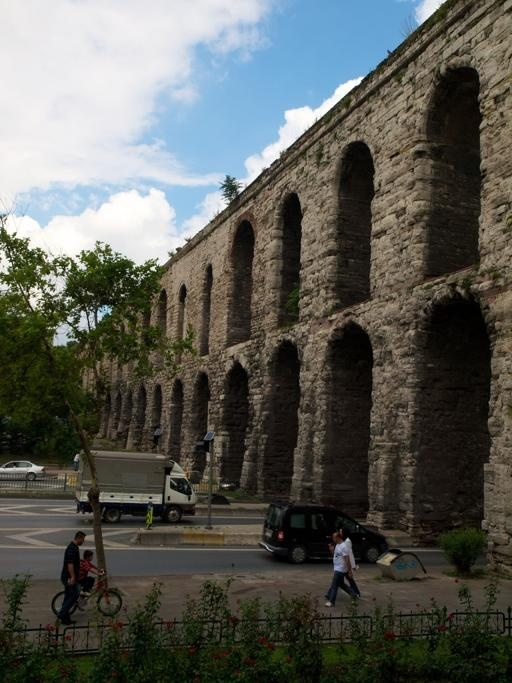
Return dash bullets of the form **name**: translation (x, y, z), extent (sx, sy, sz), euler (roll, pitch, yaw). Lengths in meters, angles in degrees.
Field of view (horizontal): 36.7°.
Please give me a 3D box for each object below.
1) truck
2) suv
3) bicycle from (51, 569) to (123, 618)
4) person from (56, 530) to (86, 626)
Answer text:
- **truck**: translation (-3.638, 4.346, 23.610), extent (4.626, 2.156, 2.033), euler (1, -5, -16)
- **suv**: translation (1.488, 4.180, 17.047), extent (2.488, 0.889, 1.290), euler (0, -5, -12)
- **bicycle**: translation (-2.182, 3.496, 10.607), extent (1.336, 0.667, 0.597), euler (-1, -8, -7)
- **person**: translation (-2.482, 3.162, 10.344), extent (0.276, 1.160, 0.655), euler (11, -13, -10)
